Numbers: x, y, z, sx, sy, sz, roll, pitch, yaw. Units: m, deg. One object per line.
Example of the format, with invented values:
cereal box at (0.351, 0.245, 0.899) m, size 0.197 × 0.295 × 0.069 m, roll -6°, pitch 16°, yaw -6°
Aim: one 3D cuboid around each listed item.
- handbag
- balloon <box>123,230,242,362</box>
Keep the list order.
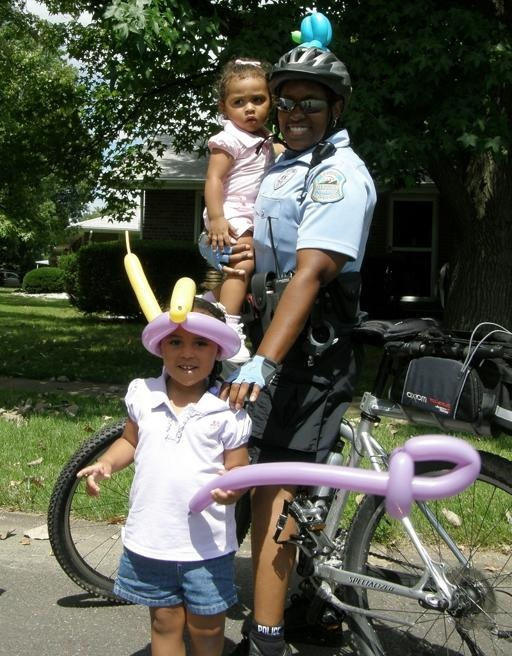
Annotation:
handbag at (0.591, 0.166, 1.805) m, size 0.185 × 0.137 × 0.235 m, roll 3°, pitch 7°, yaw -28°
balloon at (-0.155, -0.073, 1.807) m, size 0.275 × 0.196 × 0.418 m, roll 2°, pitch 33°, yaw 4°
